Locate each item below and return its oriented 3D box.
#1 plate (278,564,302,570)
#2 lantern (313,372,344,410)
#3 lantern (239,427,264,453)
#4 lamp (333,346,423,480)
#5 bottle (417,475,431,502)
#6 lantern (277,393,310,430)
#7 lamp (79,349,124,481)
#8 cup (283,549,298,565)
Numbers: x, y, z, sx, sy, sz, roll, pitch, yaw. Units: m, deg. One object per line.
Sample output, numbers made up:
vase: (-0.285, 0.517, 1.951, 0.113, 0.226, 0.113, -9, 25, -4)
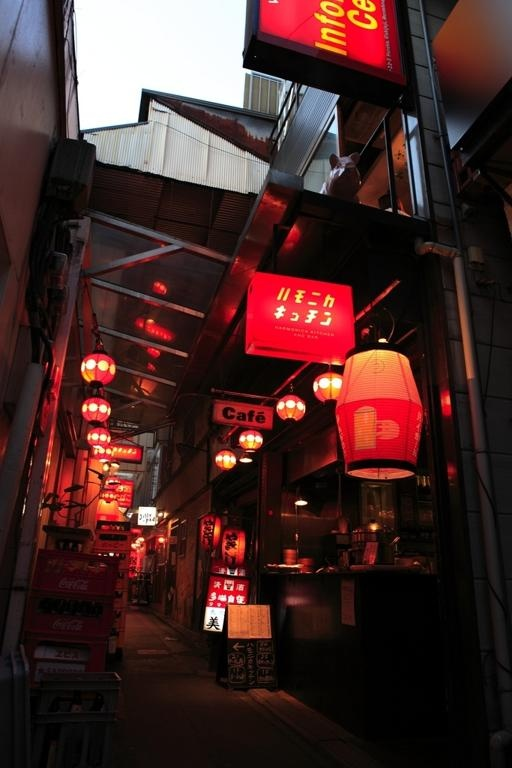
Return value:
plate: (0.548, 2.884, 8.766, 0.319, 0.079, 0.320, 5, -14, -17)
lantern: (0.867, 0.043, 7.202, 0.367, 0.427, 0.367, 0, 0, -23)
lantern: (-0.081, 0.927, 9.287, 0.389, 0.376, 0.401, 4, 1, 6)
lamp: (0.976, 0.220, 4.494, 0.679, 0.966, 0.658, 8, -17, -21)
bottle: (3.215, 1.992, 10.819, 0.227, 0.464, 0.493, -6, -22, 23)
lantern: (0.543, 0.401, 8.181, 0.405, 0.448, 0.418, -1, -27, 14)
lamp: (-3.476, 0.663, 12.428, 0.930, 4.109, 1.077, 5, -7, -18)
cup: (0.612, 3.135, 10.151, 0.230, 0.283, 0.255, 0, -12, 11)
